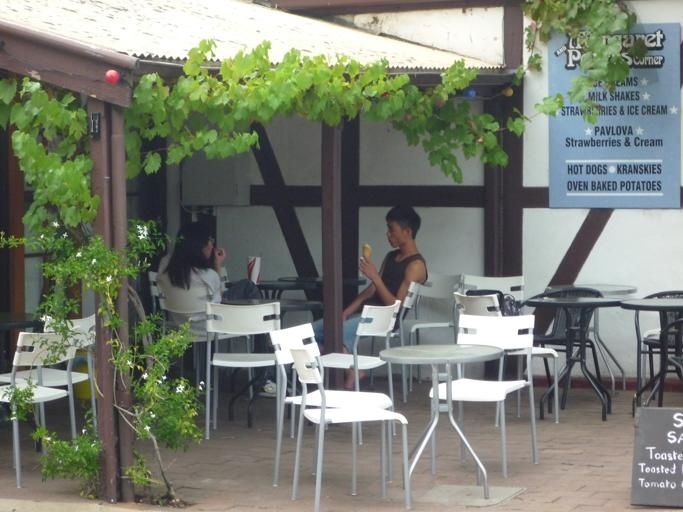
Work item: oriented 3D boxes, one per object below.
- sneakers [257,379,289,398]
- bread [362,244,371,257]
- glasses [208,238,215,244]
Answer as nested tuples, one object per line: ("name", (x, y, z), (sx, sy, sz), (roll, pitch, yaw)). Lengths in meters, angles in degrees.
("sneakers", (-0.722, 1.332, 10.808), (0.252, 0.162, 0.415), (2, 3, -2))
("bread", (0.248, -0.052, 10.979), (0.055, 0.092, 0.110), (-10, 29, 12))
("glasses", (-1.339, -0.158, 11.239), (0.054, 0.066, 0.109), (0, 8, -3))
